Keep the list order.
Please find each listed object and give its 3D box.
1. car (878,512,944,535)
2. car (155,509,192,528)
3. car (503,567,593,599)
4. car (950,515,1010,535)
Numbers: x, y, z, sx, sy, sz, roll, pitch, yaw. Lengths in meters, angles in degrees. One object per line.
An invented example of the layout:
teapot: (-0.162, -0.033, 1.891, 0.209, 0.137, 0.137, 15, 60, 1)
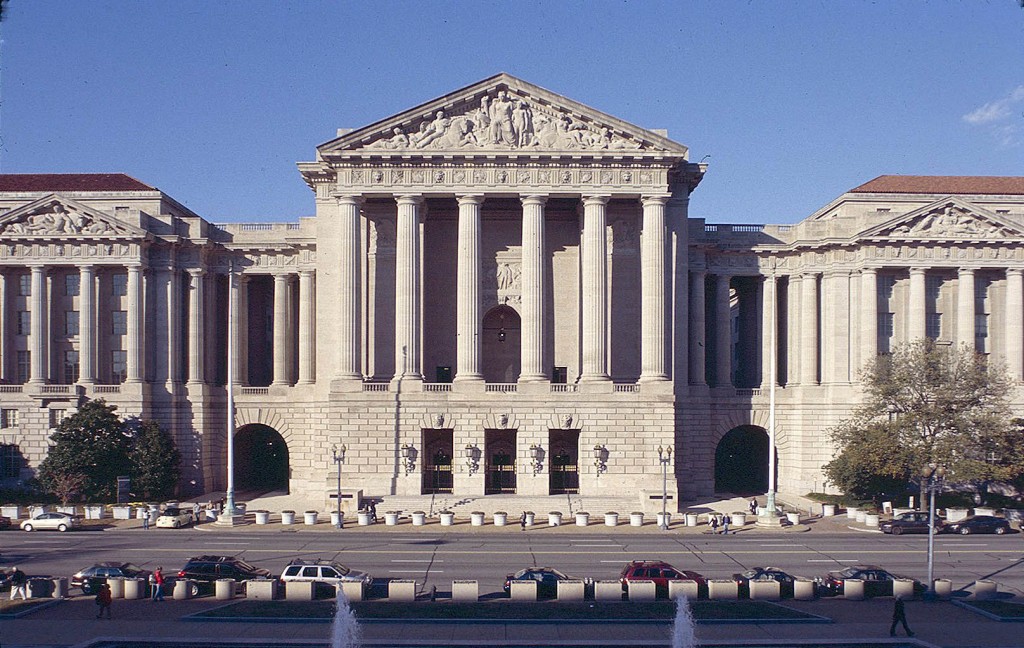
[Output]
car: (34.536, 17.344, 170.078, 6.381, 1.519, 2.360, 1, -4, 2)
car: (-29.471, 17.103, 171.961, 2.599, 1.647, 2.856, -2, -3, 15)
car: (2.874, 20.405, 154.095, 6.881, 1.632, 2.517, -1, 1, 0)
car: (40.642, 17.493, 170.185, 4.945, 1.120, 1.857, 1, -5, 2)
